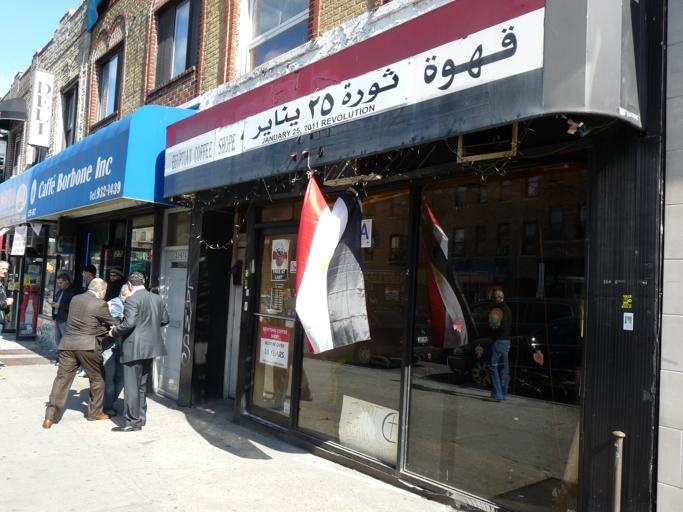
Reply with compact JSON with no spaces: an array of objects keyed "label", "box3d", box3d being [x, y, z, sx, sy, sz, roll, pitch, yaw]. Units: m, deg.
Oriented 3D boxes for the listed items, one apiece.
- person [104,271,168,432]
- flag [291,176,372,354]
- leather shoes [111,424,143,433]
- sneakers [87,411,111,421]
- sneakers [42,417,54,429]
[{"label":"person","box3d":[-2.822,1.300,8.304,0.552,2.077,0.778,2,4,16]},{"label":"flag","box3d":[-0.115,0.069,6.293,0.790,1.766,0.531,0,4,-15]},{"label":"leather shoes","box3d":[-2.897,2.299,8.069,0.342,0.180,0.145,7,-12,-8]},{"label":"sneakers","box3d":[-3.453,2.257,8.514,0.279,0.133,0.117,3,0,-40]},{"label":"sneakers","box3d":[-3.907,2.225,7.977,0.136,0.122,0.147,5,-7,-26]}]
